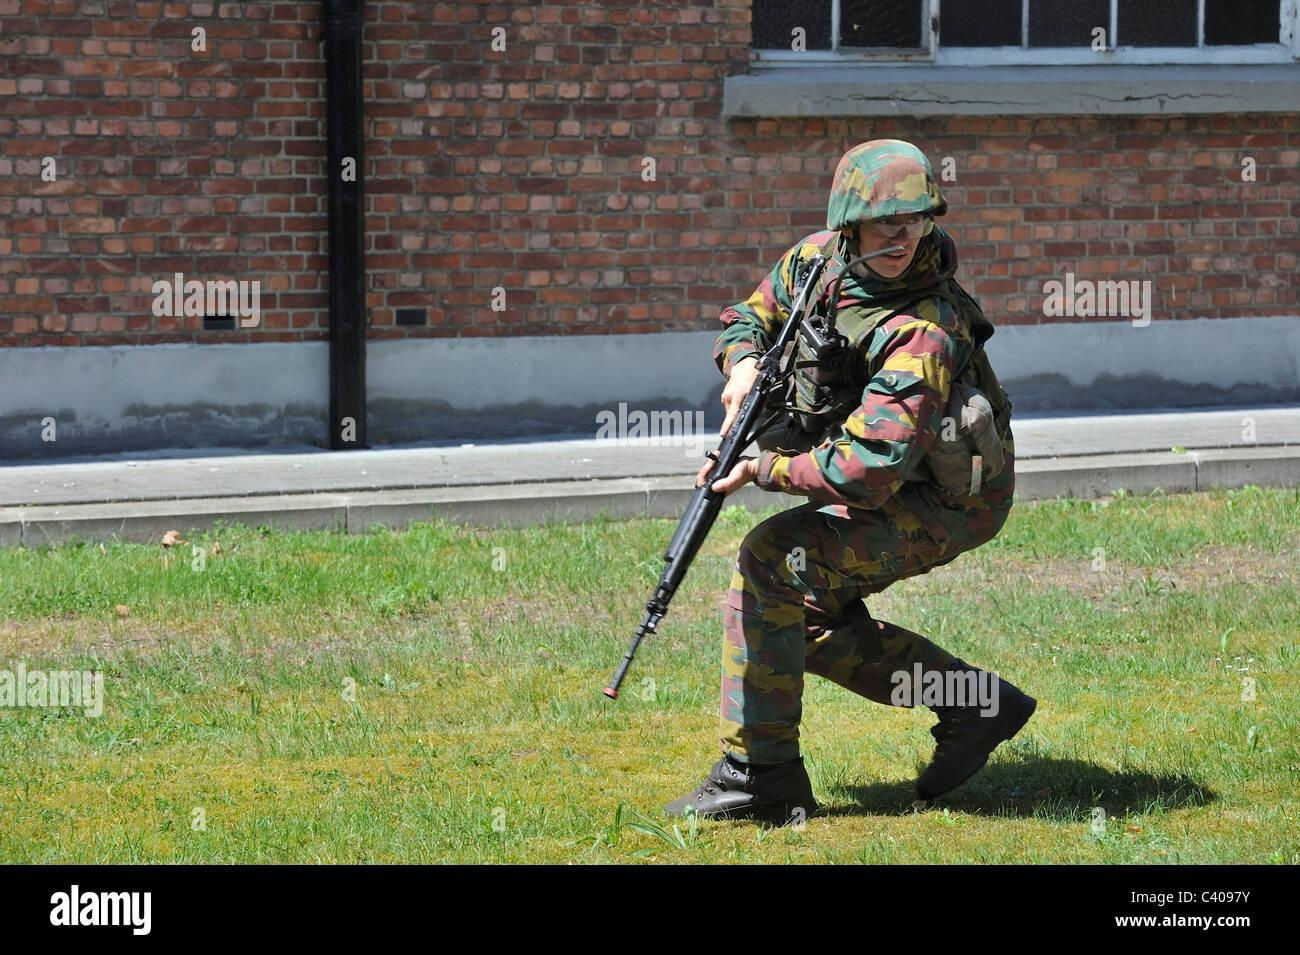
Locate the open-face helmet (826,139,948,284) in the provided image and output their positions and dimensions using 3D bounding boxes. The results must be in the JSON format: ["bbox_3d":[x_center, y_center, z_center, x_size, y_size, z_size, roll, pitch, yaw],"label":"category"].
[{"bbox_3d":[1.040,-1.259,12.407,0.530,0.668,0.626,-8,4,-18],"label":"open-face helmet"}]

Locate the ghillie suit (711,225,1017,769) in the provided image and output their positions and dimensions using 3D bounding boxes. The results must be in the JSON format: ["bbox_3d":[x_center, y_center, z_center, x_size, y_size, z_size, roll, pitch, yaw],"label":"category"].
[{"bbox_3d":[0.924,0.048,12.627,1.499,2.825,1.272,-8,20,-29],"label":"ghillie suit"}]
